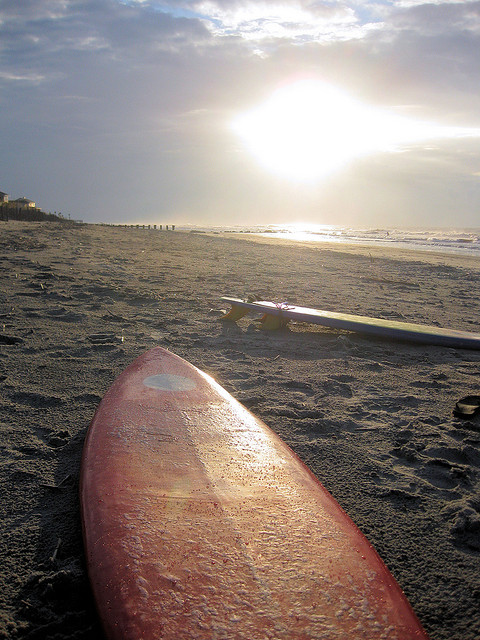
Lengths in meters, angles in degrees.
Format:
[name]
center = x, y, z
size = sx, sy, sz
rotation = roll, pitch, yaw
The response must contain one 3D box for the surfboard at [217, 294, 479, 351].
[surfboard]
center = 1.027, 0.032, 5.152
size = 1.834, 0.220, 0.408
rotation = 8, 11, 35
